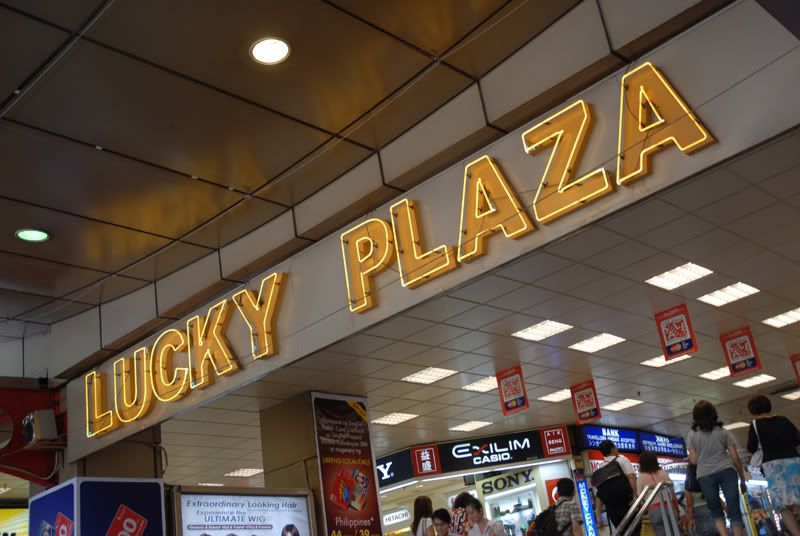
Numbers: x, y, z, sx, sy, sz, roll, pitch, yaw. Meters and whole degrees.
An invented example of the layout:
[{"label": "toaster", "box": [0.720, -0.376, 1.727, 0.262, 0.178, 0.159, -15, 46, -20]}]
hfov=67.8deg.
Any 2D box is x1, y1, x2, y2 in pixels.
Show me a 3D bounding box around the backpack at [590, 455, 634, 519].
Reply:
[{"label": "backpack", "box": [2.674, 2.759, 7.392, 0.412, 0.671, 0.473, 19, -50, -35]}]
